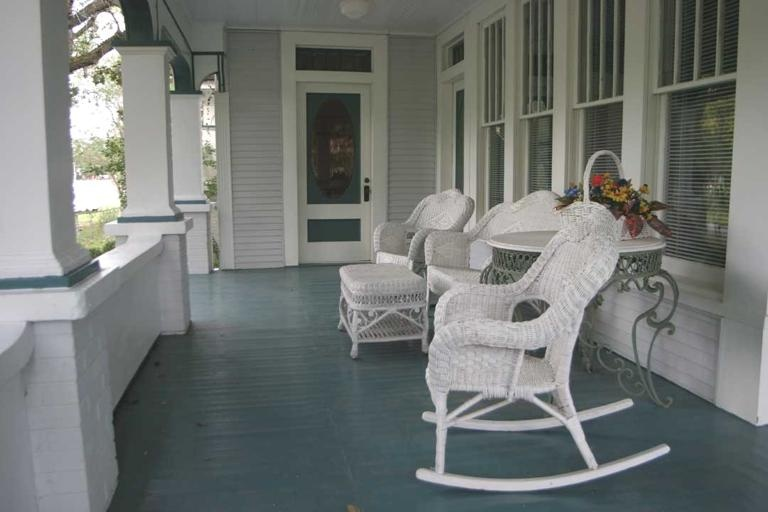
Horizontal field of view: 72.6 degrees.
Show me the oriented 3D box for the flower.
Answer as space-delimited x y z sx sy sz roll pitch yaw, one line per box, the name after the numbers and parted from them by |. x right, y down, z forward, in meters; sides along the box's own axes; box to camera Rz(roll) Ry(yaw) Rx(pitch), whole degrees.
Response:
1.439 -0.364 3.287 0.664 0.442 0.671 2 16 -7 | flower

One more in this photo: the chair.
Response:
0.800 0.473 2.921 1.460 1.412 1.172 -7 9 -13 | chair

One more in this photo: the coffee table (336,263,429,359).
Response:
0.006 0.422 4.154 0.583 0.528 0.795 -2 6 -14 | coffee table

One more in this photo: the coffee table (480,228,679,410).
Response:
1.313 0.328 3.689 1.128 1.179 1.175 -2 11 -2 | coffee table
